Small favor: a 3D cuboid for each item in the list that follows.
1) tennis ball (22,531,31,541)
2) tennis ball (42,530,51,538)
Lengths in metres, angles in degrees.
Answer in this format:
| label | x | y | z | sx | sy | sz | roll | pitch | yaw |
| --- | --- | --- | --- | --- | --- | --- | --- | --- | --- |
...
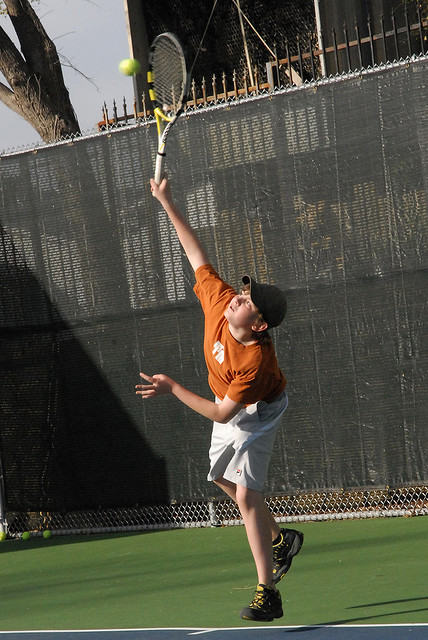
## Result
| label | x | y | z | sx | sy | sz | roll | pitch | yaw |
| --- | --- | --- | --- | --- | --- | --- | --- | --- | --- |
| tennis ball | -1.287 | 1.505 | 5.467 | 0.069 | 0.052 | 0.053 | -4 | -43 | 23 |
| tennis ball | -1.153 | 1.484 | 5.431 | 0.062 | 0.044 | 0.048 | -5 | -20 | 4 |
